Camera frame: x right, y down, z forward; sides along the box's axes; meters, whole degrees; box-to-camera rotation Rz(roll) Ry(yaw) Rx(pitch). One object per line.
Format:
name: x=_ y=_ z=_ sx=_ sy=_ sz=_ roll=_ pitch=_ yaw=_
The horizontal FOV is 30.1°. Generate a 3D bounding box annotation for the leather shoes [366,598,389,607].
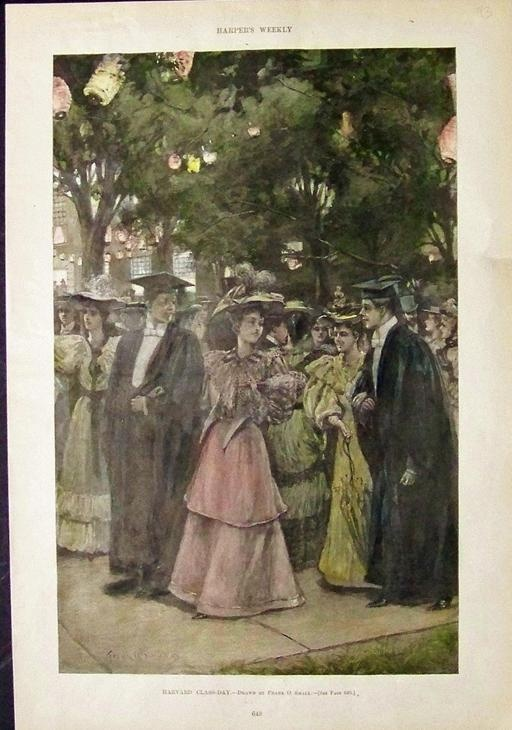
leather shoes: x=0.870 y=1.699 z=6.813 sx=0.141 sy=0.065 sz=0.029 roll=2 pitch=4 yaw=-4

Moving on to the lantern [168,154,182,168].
lantern: x=-0.584 y=-1.467 z=6.904 sx=0.083 sy=0.100 sz=0.047 roll=8 pitch=-2 yaw=6

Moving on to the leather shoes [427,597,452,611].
leather shoes: x=1.303 y=1.702 z=6.795 sx=0.165 sy=0.075 sz=0.073 roll=-4 pitch=6 yaw=4

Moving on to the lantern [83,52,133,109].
lantern: x=-1.063 y=-2.029 z=6.827 sx=0.240 sy=0.338 sz=0.137 roll=30 pitch=2 yaw=-3
